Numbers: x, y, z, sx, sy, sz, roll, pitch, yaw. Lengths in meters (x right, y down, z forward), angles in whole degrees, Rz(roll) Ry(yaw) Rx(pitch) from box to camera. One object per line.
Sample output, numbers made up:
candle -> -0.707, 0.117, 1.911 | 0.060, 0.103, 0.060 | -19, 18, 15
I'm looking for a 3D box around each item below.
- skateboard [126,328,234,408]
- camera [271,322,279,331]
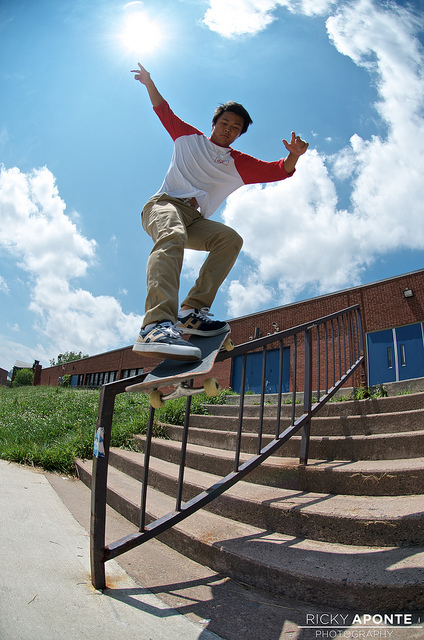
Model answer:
skateboard -> -0.089, 0.247, 2.173 | 0.385, 0.218, 1.235 | -15, 7, 11
camera -> 2.888, 0.292, 16.693 | 0.101, 0.502, 0.167 | 18, -44, -39
